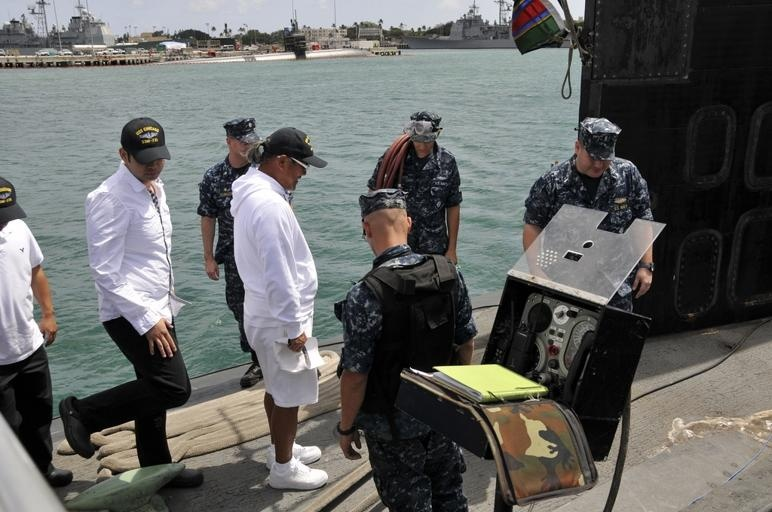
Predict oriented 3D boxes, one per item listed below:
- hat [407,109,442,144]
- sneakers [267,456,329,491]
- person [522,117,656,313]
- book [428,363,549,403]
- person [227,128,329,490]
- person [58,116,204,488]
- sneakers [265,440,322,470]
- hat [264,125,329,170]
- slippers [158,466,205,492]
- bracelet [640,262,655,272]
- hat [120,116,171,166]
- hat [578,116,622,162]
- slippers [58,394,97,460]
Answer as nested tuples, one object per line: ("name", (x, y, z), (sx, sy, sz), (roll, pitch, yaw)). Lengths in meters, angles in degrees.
("hat", (0.355, -1.213, 5.907), (0.306, 0.227, 0.291), (3, 26, 3))
("sneakers", (-0.647, 1.590, 4.662), (0.434, 0.184, 0.188), (0, 6, -8))
("person", (1.616, -0.614, 5.020), (1.013, 0.939, 0.547), (0, 21, 8))
("book", (0.532, 0.676, 3.403), (0.303, 0.058, 0.296), (-1, 11, -30))
("person", (-0.715, 0.394, 4.548), (0.678, 2.503, 0.916), (-5, 21, -4))
("person", (-1.788, 0.320, 4.423), (0.774, 2.410, 1.147), (3, 22, 16))
("sneakers", (-0.705, 1.500, 4.848), (0.470, 0.189, 0.167), (-4, 15, -19))
("hat", (-0.626, -0.783, 4.492), (0.416, 0.201, 0.256), (8, 23, -19))
("slippers", (-1.494, 1.620, 4.658), (0.340, 0.135, 0.129), (-7, 18, -16))
("bracelet", (2.093, 0.084, 5.074), (0.087, 0.042, 0.088), (3, 2, -9))
("hat", (-1.722, -0.795, 4.476), (0.286, 0.212, 0.417), (-27, 55, -36))
("hat", (1.620, -0.882, 4.853), (0.281, 0.319, 0.250), (3, 21, 14))
("slippers", (-2.111, 1.165, 4.375), (0.201, 0.471, 0.188), (-20, -5, 2))
